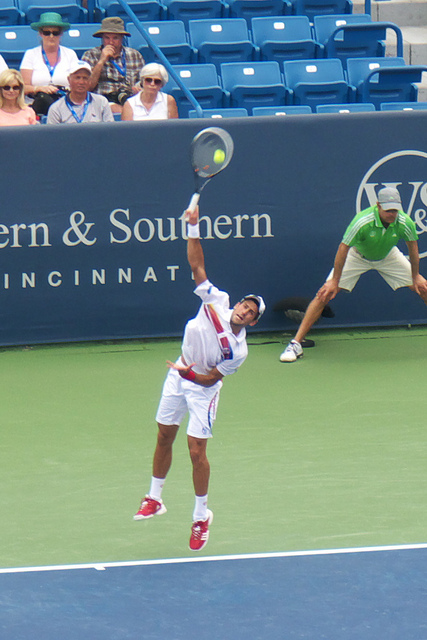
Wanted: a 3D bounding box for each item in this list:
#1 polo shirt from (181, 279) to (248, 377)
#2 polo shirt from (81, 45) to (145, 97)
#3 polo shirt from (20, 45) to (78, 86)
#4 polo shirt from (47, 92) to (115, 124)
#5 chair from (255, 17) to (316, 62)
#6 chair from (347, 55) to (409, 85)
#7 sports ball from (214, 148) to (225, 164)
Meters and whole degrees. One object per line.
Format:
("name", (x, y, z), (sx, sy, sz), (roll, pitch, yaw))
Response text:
("polo shirt", (0.005, 0.042, 5.371), (0.381, 0.562, 0.255), (3, 5, 4))
("polo shirt", (-1.057, -2.795, 10.220), (0.753, 0.593, 0.379), (-9, 19, -14))
("polo shirt", (-1.818, -2.991, 10.167), (0.480, 0.407, 0.265), (-4, -14, -11))
("polo shirt", (-1.399, -2.199, 9.282), (0.634, 0.426, 0.285), (-3, 4, -8))
("chair", (1.003, -3.992, 12.541), (0.903, 0.707, 0.681), (-2, 18, -6))
("chair", (2.164, -3.309, 11.850), (0.709, 0.251, 0.489), (-2, 25, -3))
("sports ball", (0.046, -0.978, 5.345), (0.084, 0.085, 0.077), (-1, 16, 1))
